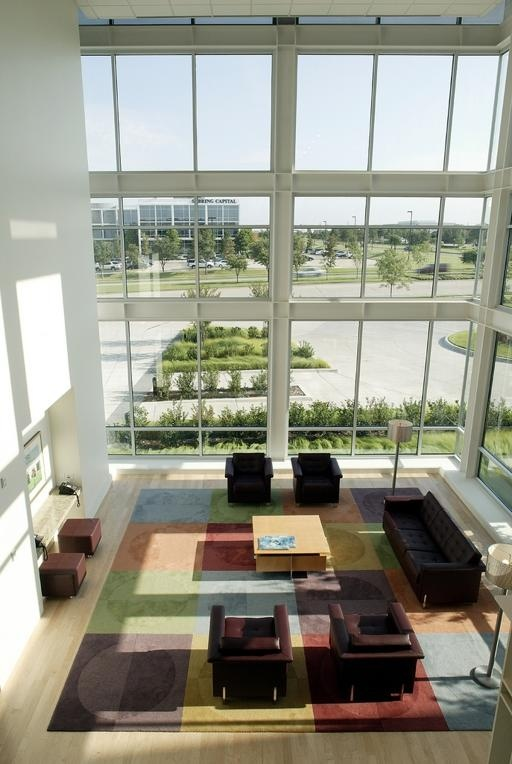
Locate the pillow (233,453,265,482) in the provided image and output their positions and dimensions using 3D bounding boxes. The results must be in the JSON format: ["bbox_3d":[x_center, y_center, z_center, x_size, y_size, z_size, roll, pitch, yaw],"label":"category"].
[{"bbox_3d":[-0.142,1.721,10.331,0.509,0.514,0.515,1,-1,6],"label":"pillow"}]

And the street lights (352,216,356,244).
[{"bbox_3d":[2.052,-3.217,10.551,0.094,0.536,0.059,2,12,10],"label":"street lights"}]

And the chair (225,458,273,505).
[{"bbox_3d":[-0.140,1.914,10.011,0.802,0.780,0.935,0,1,1],"label":"chair"}]

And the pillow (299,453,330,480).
[{"bbox_3d":[1.223,1.651,10.532,0.620,0.601,0.477,1,5,5],"label":"pillow"}]

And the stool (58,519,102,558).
[{"bbox_3d":[-2.781,2.443,8.146,0.545,0.335,0.535,3,21,2],"label":"stool"}]

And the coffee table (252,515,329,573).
[{"bbox_3d":[0.555,2.516,7.904,0.816,0.268,0.791,-1,19,-1],"label":"coffee table"}]

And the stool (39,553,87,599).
[{"bbox_3d":[-2.746,2.708,7.311,0.601,0.465,0.575,1,21,1],"label":"stool"}]

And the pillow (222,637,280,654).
[{"bbox_3d":[-0.048,2.658,5.121,0.585,0.110,0.180,0,12,-3],"label":"pillow"}]

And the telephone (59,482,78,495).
[{"bbox_3d":[-3.239,1.823,8.695,0.222,0.141,0.221,-4,18,-19],"label":"telephone"}]

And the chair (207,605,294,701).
[{"bbox_3d":[-0.056,2.912,5.498,0.700,0.584,0.999,0,10,-2],"label":"chair"}]

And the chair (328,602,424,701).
[{"bbox_3d":[1.272,2.894,5.623,0.767,0.614,0.929,0,15,0],"label":"chair"}]

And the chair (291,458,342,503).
[{"bbox_3d":[1.204,1.898,10.052,0.808,0.798,0.932,0,-1,1],"label":"chair"}]
